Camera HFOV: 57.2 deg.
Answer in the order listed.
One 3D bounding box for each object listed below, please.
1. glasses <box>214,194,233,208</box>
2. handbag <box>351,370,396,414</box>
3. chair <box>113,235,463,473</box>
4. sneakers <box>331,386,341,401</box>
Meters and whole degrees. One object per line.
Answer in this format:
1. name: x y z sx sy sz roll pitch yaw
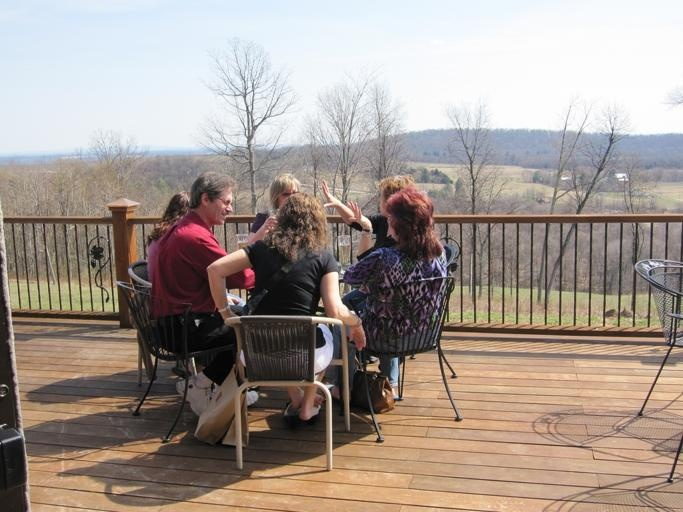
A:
1. glasses: -0.857 -0.403 4.572 0.098 0.062 0.099 1 5 12
2. handbag: 0.183 0.990 4.693 0.426 0.308 0.176 3 8 44
3. chair: -0.441 0.668 4.152 1.456 0.716 1.533 -1 0 12
4. sneakers: -0.045 1.017 4.684 0.052 0.064 0.147 1 1 3
